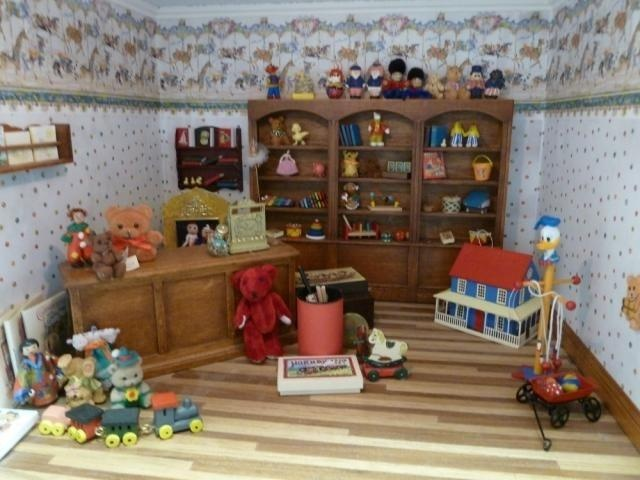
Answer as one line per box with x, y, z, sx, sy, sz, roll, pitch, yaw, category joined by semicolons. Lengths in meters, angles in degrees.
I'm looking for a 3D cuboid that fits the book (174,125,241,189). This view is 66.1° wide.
-1.429;-1.110;6.387;0.861;0.824;0.252;1;11;4;book

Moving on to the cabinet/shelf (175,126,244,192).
-1.411;-1.084;6.384;0.889;0.854;0.264;1;10;3;cabinet/shelf

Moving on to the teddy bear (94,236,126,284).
-1.813;0.143;4.222;0.264;0.390;0.250;-7;14;-24;teddy bear
